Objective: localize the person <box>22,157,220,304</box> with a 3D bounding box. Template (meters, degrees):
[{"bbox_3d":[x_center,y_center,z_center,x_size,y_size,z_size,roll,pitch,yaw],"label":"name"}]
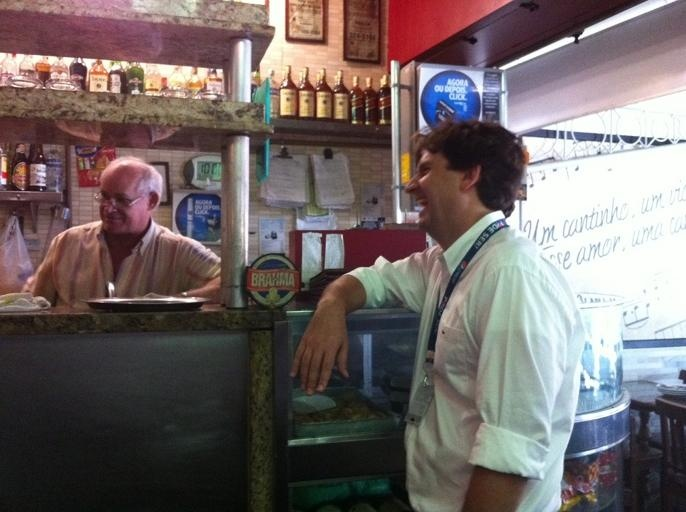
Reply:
[{"bbox_3d":[-1.078,-0.112,3.116,0.912,0.740,0.386,0,2,-18],"label":"person"}]

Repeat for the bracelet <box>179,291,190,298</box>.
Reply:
[{"bbox_3d":[-0.646,0.158,2.591,0.052,0.022,0.070,0,2,-14],"label":"bracelet"}]

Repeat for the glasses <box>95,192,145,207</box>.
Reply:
[{"bbox_3d":[-1.090,-0.268,3.012,0.264,0.072,0.131,2,3,30],"label":"glasses"}]
